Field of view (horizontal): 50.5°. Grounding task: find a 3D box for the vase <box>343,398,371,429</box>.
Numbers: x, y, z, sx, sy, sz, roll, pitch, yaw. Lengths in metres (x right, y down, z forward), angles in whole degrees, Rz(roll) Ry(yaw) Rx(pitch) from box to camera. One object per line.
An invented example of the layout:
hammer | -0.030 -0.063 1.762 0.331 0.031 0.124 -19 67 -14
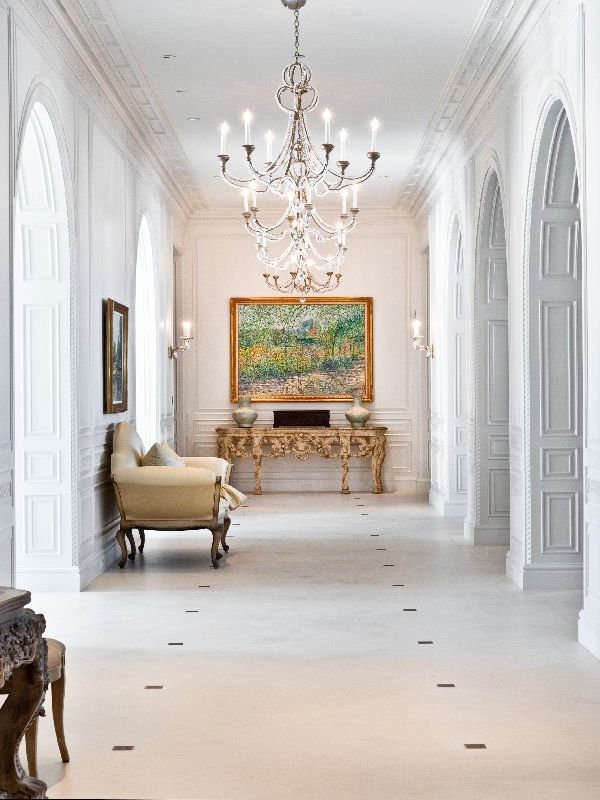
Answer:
vase | 1.060 0.236 11.171 0.516 0.589 0.476 -1 0 28

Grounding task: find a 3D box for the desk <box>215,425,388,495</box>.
desk | 0.024 1.022 11.446 3.015 1.276 0.976 0 11 -1

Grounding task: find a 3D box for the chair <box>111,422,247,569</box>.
chair | -1.095 0.903 6.735 1.384 1.629 1.421 1 -3 -2

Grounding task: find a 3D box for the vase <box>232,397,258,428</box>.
vase | -0.964 0.202 11.118 0.511 0.582 0.473 3 2 44

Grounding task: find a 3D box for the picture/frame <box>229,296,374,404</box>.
picture/frame | -0.019 -0.947 11.554 1.998 1.369 0.085 0 2 -1
